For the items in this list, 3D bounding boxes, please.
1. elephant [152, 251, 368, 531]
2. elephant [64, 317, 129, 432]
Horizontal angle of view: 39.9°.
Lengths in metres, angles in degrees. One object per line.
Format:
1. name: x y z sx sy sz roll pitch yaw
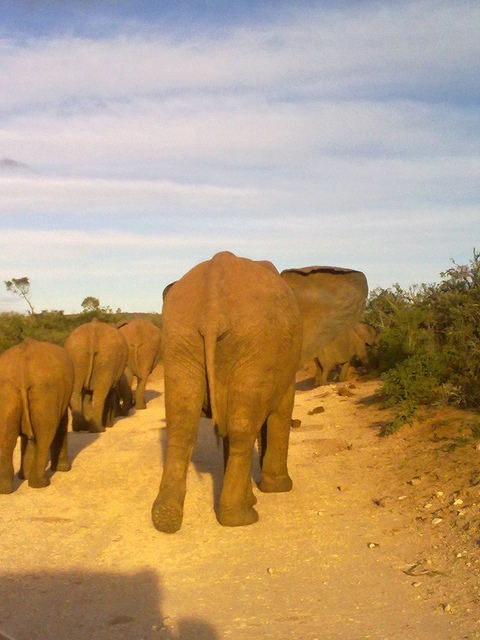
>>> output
1. elephant: -0.040 0.586 5.721 0.850 2.345 1.520 3 6 35
2. elephant: -2.340 0.816 10.676 0.789 1.679 1.619 -1 5 -5
